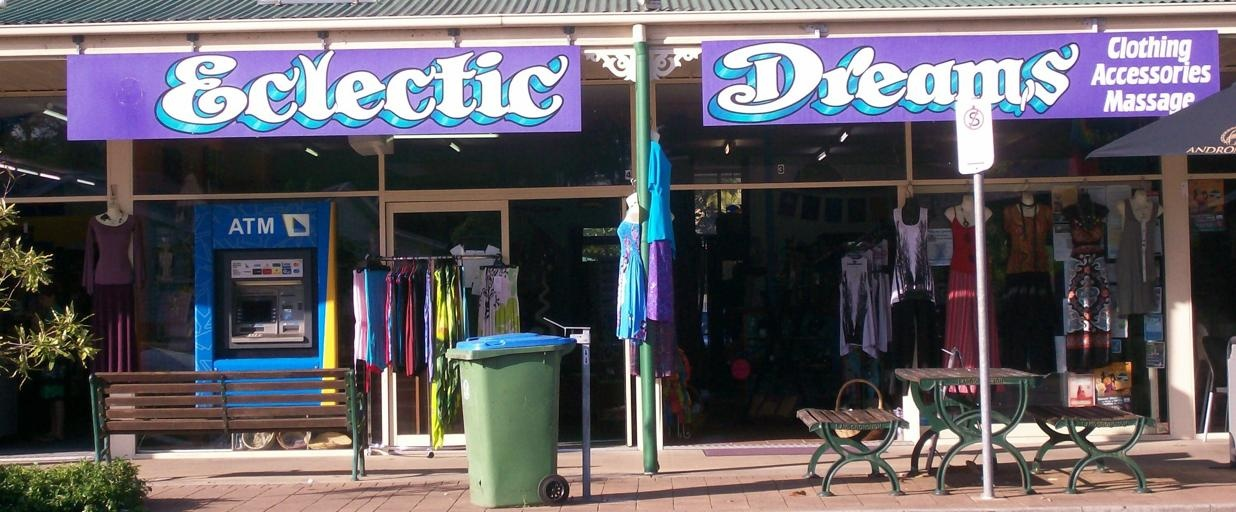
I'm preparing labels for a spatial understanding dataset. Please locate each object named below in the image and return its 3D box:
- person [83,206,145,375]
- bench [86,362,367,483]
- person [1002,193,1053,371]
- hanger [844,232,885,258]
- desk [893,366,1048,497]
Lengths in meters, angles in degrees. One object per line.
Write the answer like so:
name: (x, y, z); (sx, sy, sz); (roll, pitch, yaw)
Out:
person: (-9.353, 0.636, 23.612); (0.890, 3.047, 0.821); (0, -4, -9)
bench: (-6.850, 3.179, 22.128); (5.133, 2.294, 3.135); (-2, -2, 14)
person: (7.738, 0.440, 23.867); (1.071, 3.078, 0.735); (2, 2, 15)
hanger: (4.628, -0.209, 23.716); (0.584, 0.221, 0.719); (-3, -4, 8)
desk: (6.281, 3.216, 22.123); (1.973, 2.461, 2.234); (-1, -1, -43)
